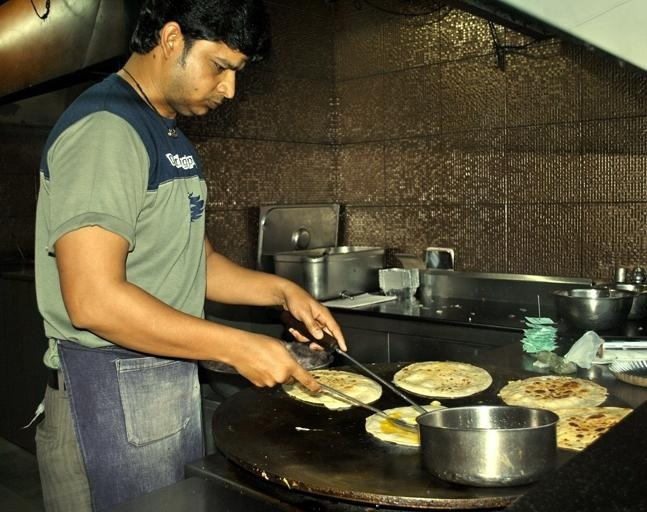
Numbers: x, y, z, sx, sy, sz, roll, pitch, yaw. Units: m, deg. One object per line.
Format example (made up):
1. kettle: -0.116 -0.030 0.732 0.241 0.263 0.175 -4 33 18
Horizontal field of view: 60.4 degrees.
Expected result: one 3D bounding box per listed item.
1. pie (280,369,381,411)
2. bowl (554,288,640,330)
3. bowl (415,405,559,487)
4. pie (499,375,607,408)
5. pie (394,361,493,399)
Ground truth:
1. pie: 0.040 0.379 1.636 0.268 0.021 0.230 15 17 33
2. bowl: 1.077 0.223 2.230 0.275 0.172 0.254 -3 8 0
3. bowl: 0.292 0.341 1.019 0.251 0.077 0.230 -2 -2 0
4. pie: 0.597 0.355 1.464 0.269 0.021 0.238 -1 7 8
5. pie: 0.364 0.368 1.669 0.261 0.019 0.249 7 17 32
